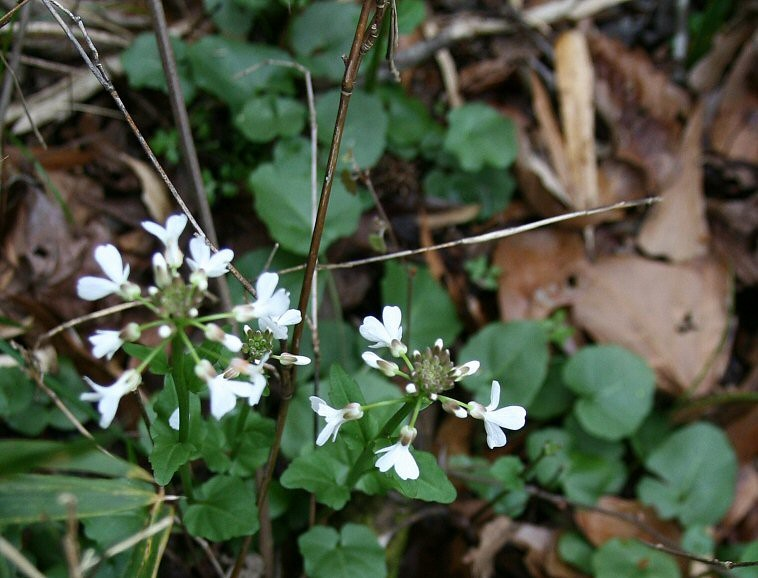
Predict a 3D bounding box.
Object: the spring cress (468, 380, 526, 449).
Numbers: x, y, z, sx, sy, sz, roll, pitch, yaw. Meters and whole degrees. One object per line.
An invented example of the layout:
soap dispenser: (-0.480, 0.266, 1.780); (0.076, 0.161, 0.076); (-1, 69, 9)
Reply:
spring cress: (0.342, 0.351, 2.178); (0.188, 0.217, 0.060); (8, 17, 15)
